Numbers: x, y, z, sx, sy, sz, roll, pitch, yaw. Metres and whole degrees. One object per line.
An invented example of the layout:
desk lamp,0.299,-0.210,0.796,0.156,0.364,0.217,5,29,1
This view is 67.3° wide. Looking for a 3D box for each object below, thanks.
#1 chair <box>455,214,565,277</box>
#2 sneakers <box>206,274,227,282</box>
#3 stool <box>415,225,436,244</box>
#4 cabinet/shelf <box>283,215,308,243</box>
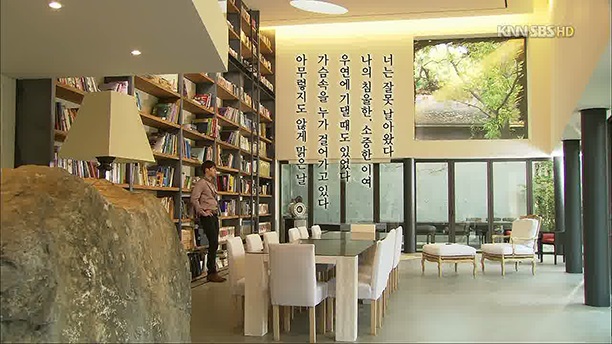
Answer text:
chair,4.498,1.680,10.543,1.741,1.745,1.366,6,-10,-21
sneakers,-1.605,1.935,8.412,0.410,0.163,0.134,-2,-4,6
stool,3.367,1.749,12.986,0.573,0.664,0.523,1,4,21
cabinet/shelf,-0.341,1.575,12.913,0.665,0.702,0.566,2,-1,14
